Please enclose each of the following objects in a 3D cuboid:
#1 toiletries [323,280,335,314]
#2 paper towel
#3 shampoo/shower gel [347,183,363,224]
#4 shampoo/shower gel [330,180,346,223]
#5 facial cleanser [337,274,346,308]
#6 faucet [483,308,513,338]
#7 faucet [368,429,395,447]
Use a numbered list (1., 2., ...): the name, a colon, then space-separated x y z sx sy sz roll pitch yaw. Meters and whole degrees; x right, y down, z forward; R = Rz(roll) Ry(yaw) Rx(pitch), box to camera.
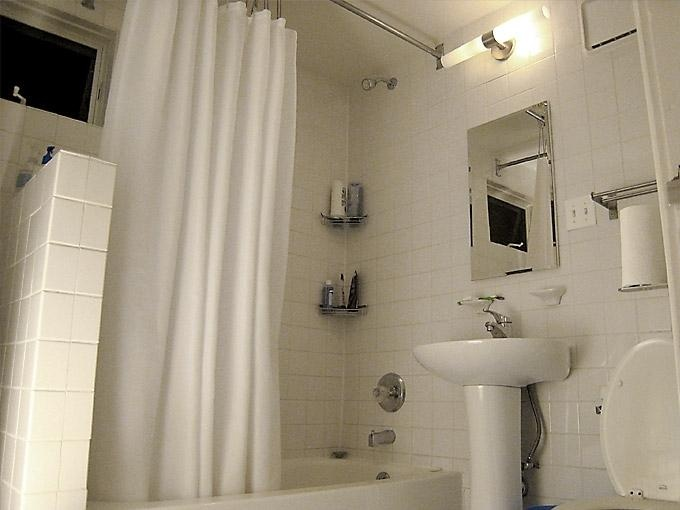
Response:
1. toiletries: -0.078 0.260 3.737 0.080 0.190 0.053 -5 -16 16
2. paper towel: 1.253 -0.032 2.569 0.213 0.353 0.169 -14 -21 42
3. shampoo/shower gel: 0.110 -0.344 3.893 0.092 0.300 0.121 -7 -17 24
4. shampoo/shower gel: -0.007 -0.342 3.843 0.106 0.229 0.069 0 -15 -2
5. facial cleanser: 0.014 0.215 3.844 0.048 0.216 0.082 -4 -16 12
6. faucet: 0.795 0.345 3.072 0.138 0.153 0.168 -4 -16 12
7. faucet: 0.223 1.003 3.382 0.139 0.085 0.115 17 -22 -39
